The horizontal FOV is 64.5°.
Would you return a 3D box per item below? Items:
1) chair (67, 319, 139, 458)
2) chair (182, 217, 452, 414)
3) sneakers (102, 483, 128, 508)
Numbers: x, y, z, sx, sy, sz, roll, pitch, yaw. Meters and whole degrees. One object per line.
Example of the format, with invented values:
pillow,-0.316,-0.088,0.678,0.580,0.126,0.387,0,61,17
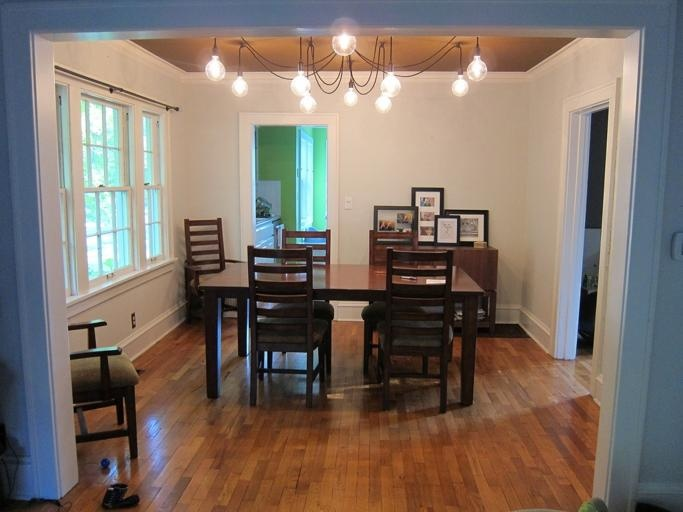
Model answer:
chair,-1.541,0.845,3.522,0.384,0.836,0.546,-7,15,-27
chair,-0.045,0.466,4.307,1.990,1.253,0.868,1,13,4
sneakers,-1.298,1.364,3.089,0.123,0.058,0.164,-1,13,-8
